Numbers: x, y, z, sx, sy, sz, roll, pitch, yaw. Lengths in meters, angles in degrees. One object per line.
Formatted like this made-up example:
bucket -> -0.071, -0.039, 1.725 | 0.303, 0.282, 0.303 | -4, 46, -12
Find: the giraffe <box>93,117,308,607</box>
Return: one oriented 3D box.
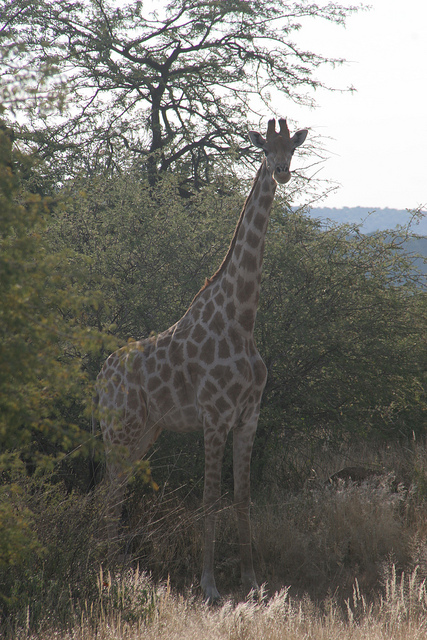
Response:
giraffe -> -0.092, 0.268, 9.447 | 1.523, 3.882, 2.830 | 3, 9, -1
